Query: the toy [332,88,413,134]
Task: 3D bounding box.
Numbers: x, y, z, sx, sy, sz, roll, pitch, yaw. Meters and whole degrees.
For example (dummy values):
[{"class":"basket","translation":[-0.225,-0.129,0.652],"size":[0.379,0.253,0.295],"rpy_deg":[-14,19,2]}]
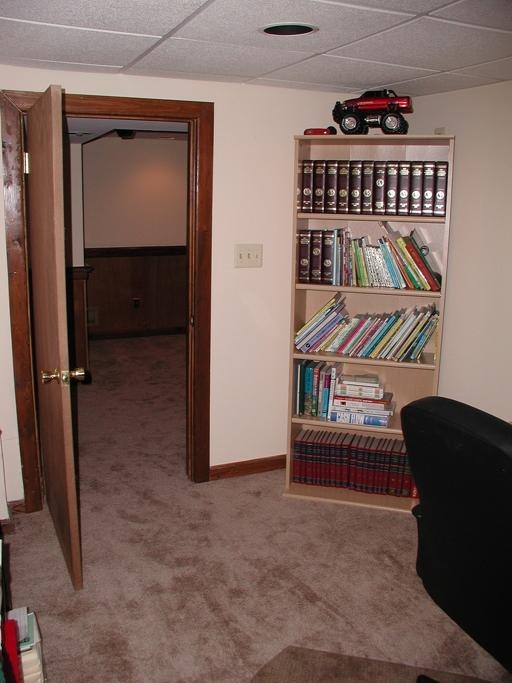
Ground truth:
[{"class":"toy","translation":[0.569,-1.113,2.611],"size":[0.353,0.228,0.224],"rpy_deg":[7,28,9]}]
